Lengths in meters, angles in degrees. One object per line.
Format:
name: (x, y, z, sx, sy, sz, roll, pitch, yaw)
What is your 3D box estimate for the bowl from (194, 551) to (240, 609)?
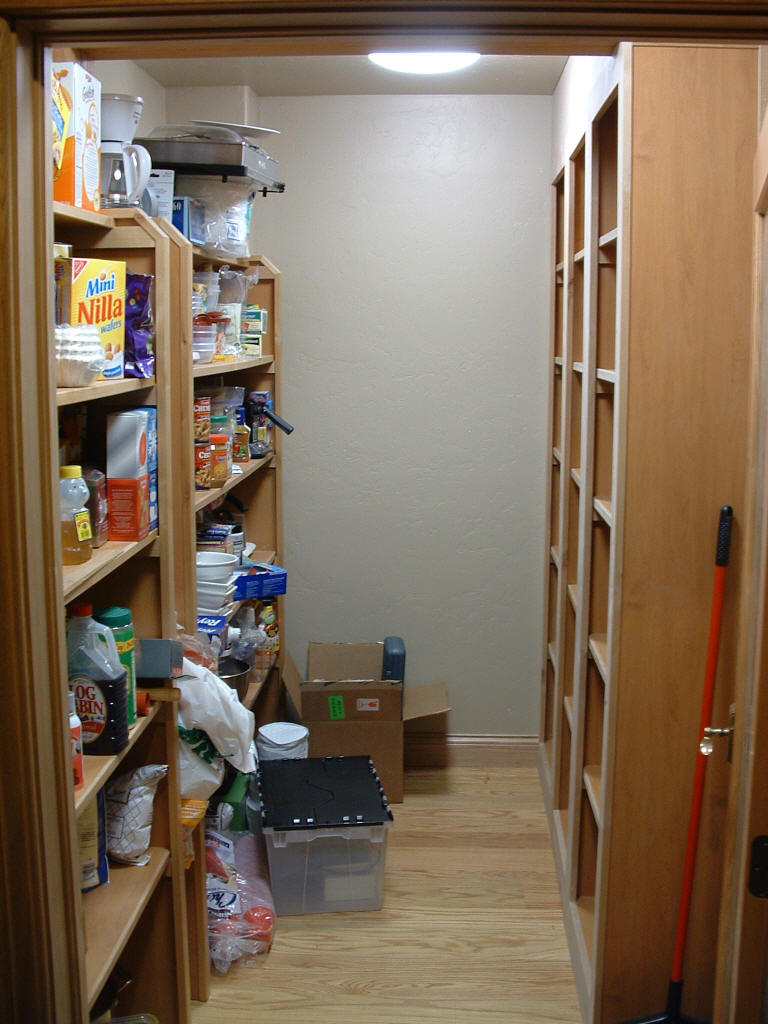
bowl: (-0.479, 0.200, 2.409, 0.128, 0.111, 0.128, 1, 8, 0)

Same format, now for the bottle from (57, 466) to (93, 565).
bottle: (-0.485, 0.008, 1.317, 0.031, 0.152, 0.068, 3, 7, 18)

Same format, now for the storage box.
storage box: (-0.158, 0.853, 2.769, 0.443, 0.343, 0.784, 0, 6, -2)

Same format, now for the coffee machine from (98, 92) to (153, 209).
coffee machine: (-0.531, -0.719, 1.724, 0.116, 0.229, 0.107, 18, 23, 22)
